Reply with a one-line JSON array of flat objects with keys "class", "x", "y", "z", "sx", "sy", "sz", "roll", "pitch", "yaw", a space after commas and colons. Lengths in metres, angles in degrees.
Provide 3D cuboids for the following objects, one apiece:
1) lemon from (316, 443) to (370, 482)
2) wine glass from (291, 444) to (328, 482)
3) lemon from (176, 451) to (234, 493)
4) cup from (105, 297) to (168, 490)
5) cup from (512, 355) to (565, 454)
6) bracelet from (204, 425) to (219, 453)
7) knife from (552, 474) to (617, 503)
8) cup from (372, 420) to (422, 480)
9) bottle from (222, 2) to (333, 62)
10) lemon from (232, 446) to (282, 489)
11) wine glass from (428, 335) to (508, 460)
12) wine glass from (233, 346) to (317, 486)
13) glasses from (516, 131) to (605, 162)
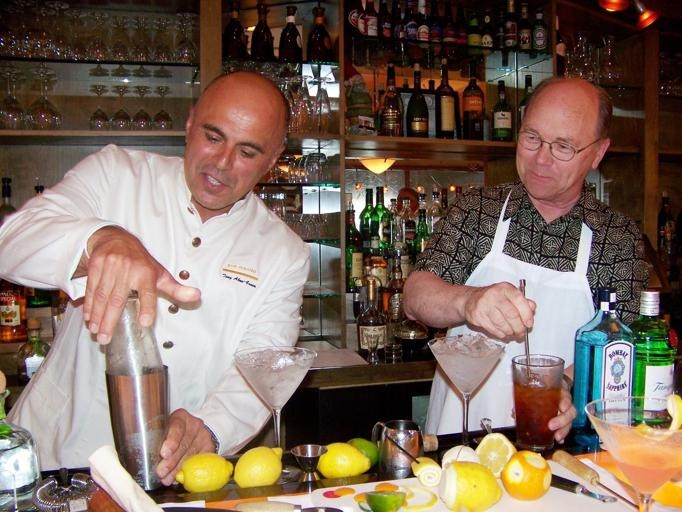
[{"class": "lemon", "x": 0.005, "y": 0.500, "z": 1.410, "sx": 0.113, "sy": 0.066, "sz": 0.074, "roll": 4, "pitch": -2, "yaw": 0}, {"class": "wine glass", "x": -0.076, "y": 0.499, "z": 1.412, "sx": 0.078, "sy": 0.062, "sz": 0.080, "roll": 0, "pitch": -8, "yaw": 9}, {"class": "lemon", "x": -0.317, "y": 0.502, "z": 1.342, "sx": 0.109, "sy": 0.073, "sz": 0.065, "roll": -4, "pitch": -37, "yaw": -16}, {"class": "cup", "x": -0.461, "y": 0.318, "z": 1.320, "sx": 0.133, "sy": 0.458, "sz": 0.077, "roll": -1, "pitch": 1, "yaw": -17}, {"class": "cup", "x": 0.554, "y": 0.395, "z": 1.618, "sx": 0.148, "sy": 0.254, "sz": 0.149, "roll": -1, "pitch": 1, "yaw": 0}, {"class": "bracelet", "x": -0.363, "y": 0.510, "z": 1.614, "sx": 0.026, "sy": 0.064, "sz": 0.065, "roll": -27, "pitch": 7, "yaw": -20}, {"class": "knife", "x": 0.557, "y": 0.537, "z": 1.340, "sx": 0.024, "sy": 0.020, "sz": 0.141, "roll": -9, "pitch": 13, "yaw": -36}, {"class": "cup", "x": 0.144, "y": 0.479, "z": 1.450, "sx": 0.103, "sy": 0.109, "sz": 0.120, "roll": 0, "pitch": 1, "yaw": 17}, {"class": "bottle", "x": -0.376, "y": -1.319, "z": 3.402, "sx": 0.478, "sy": 0.235, "sz": 0.098, "roll": 0, "pitch": 2, "yaw": -14}, {"class": "lemon", "x": -0.194, "y": 0.498, "z": 1.364, "sx": 0.105, "sy": 0.076, "sz": 0.078, "roll": -19, "pitch": 16, "yaw": -8}, {"class": "wine glass", "x": 0.336, "y": 0.392, "z": 1.747, "sx": 0.293, "sy": 0.394, "sz": 0.304, "roll": 0, "pitch": -2, "yaw": -3}, {"class": "wine glass", "x": -0.166, "y": 0.405, "z": 1.579, "sx": 0.277, "sy": 0.327, "sz": 0.275, "roll": 0, "pitch": 1, "yaw": 29}, {"class": "glasses", "x": 0.793, "y": -0.411, "z": 2.139, "sx": 0.271, "sy": 0.129, "sz": 0.101, "roll": 0, "pitch": 1, "yaw": 17}]
